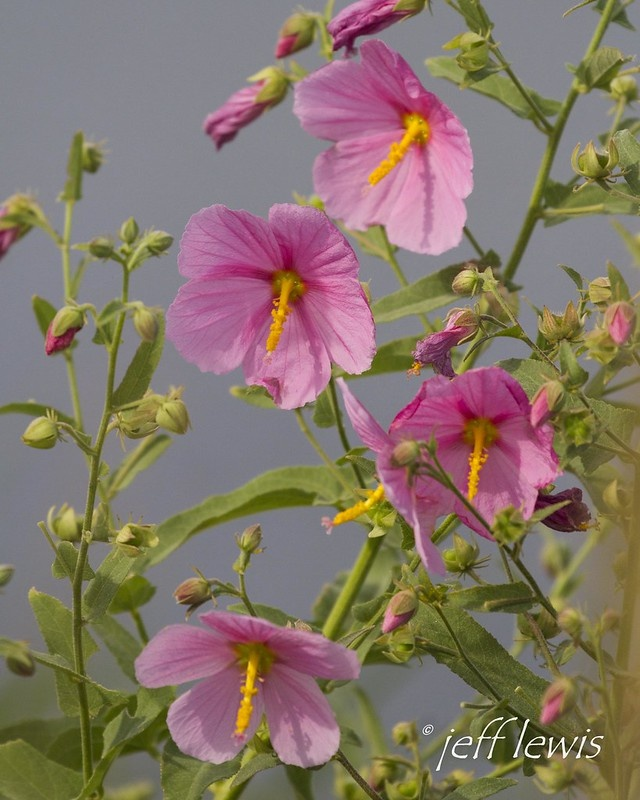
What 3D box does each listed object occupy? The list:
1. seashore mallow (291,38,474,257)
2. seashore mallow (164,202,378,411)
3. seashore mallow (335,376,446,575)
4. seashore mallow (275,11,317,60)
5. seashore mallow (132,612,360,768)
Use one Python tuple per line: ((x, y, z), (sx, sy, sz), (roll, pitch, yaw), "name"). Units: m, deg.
((0.059, -0.242, 1.215), (0.177, 0.068, 0.131), (39, -99, -41), "seashore mallow")
((-0.043, -0.076, 1.132), (0.162, 0.105, 0.190), (-5, -52, -15), "seashore mallow")
((0.058, 0.055, 1.002), (0.052, 0.125, 0.130), (-27, -5, 1), "seashore mallow")
((-0.023, -0.355, 1.318), (0.045, 0.063, 0.022), (-44, -98, 14), "seashore mallow")
((-0.065, 0.211, 1.052), (0.190, 0.074, 0.163), (10, -30, 19), "seashore mallow")
